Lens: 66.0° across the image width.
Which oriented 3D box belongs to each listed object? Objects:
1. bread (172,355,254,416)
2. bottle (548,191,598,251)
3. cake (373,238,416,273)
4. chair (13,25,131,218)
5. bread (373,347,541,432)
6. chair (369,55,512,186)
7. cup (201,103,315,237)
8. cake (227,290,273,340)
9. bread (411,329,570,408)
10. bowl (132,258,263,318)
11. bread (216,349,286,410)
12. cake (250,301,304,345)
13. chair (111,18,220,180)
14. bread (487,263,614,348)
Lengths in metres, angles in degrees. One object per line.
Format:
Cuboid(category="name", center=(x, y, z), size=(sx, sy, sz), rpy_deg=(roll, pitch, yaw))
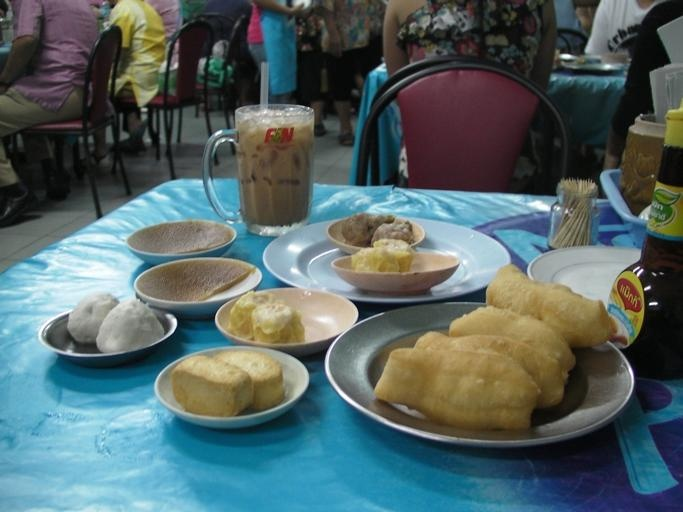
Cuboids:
Cuboid(category="bread", center=(-0.126, 0.129, 0.518), size=(0.073, 0.047, 0.041), rpy_deg=(6, 10, 21))
Cuboid(category="bottle", center=(0.353, -0.050, 0.800), size=(0.081, 0.088, 0.062), rpy_deg=(-1, 14, -16))
Cuboid(category="cake", center=(0.076, -0.007, 0.722), size=(0.044, 0.018, 0.045), rpy_deg=(-10, 36, -39))
Cuboid(category="chair", center=(-1.557, -0.819, 3.040), size=(0.560, 0.982, 0.536), rpy_deg=(10, 21, 11))
Cuboid(category="bread", center=(0.107, 0.120, 0.475), size=(0.114, 0.042, 0.072), rpy_deg=(8, 52, 16))
Cuboid(category="chair", center=(0.289, -0.445, 1.622), size=(0.326, 0.547, 0.385), rpy_deg=(-1, 40, 3))
Cuboid(category="cup", center=(-0.155, -0.150, 0.949), size=(0.201, 0.216, 0.130), rpy_deg=(-8, 21, -21))
Cuboid(category="cake", center=(-0.110, 0.070, 0.616), size=(0.043, 0.051, 0.020), rpy_deg=(-16, -6, 11))
Cuboid(category="bread", center=(0.139, 0.096, 0.503), size=(0.131, 0.056, 0.068), rpy_deg=(12, 23, 17))
Cuboid(category="bowl", center=(-0.190, 0.036, 0.706), size=(0.102, 0.029, 0.101), rpy_deg=(1, 21, 0))
Cuboid(category="bread", center=(-0.086, 0.122, 0.532), size=(0.061, 0.025, 0.063), rpy_deg=(6, 13, -39))
Cuboid(category="cake", center=(-0.073, 0.079, 0.592), size=(0.044, 0.029, 0.047), rpy_deg=(7, 16, 13))
Cuboid(category="chair", center=(-1.313, -1.178, 3.621), size=(0.506, 0.945, 0.449), rpy_deg=(8, 16, -15))
Cuboid(category="bread", center=(0.220, 0.058, 0.578), size=(0.072, 0.057, 0.140), rpy_deg=(-16, 26, -34))
